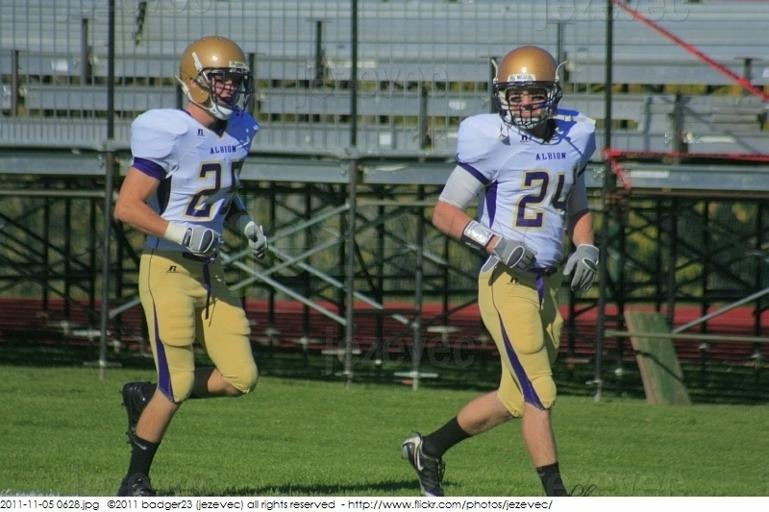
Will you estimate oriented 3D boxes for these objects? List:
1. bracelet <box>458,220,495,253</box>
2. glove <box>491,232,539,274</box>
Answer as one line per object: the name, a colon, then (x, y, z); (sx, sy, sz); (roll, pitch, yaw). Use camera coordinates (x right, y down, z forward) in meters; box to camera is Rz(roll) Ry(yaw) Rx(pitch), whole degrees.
bracelet: (0.950, -0.208, 16.655); (0.452, 0.135, 0.436); (-8, 39, -11)
glove: (1.257, -0.093, 16.546); (0.413, 0.212, 0.498); (10, -9, -1)
